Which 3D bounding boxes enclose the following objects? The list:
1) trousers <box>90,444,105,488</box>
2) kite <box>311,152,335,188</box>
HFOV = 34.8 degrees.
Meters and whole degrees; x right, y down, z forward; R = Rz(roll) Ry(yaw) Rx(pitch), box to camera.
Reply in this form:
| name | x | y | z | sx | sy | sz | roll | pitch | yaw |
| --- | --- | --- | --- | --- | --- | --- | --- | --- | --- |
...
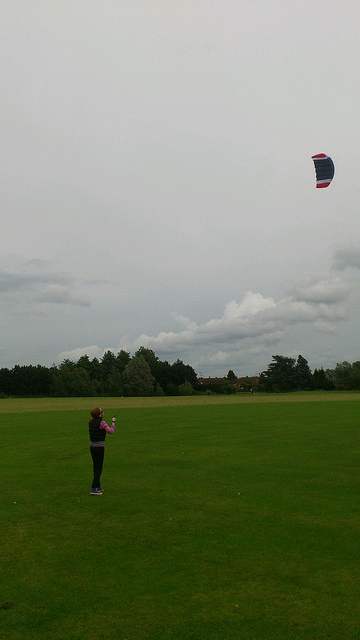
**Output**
| name | x | y | z | sx | sy | sz | roll | pitch | yaw |
| --- | --- | --- | --- | --- | --- | --- | --- | --- | --- |
| trousers | -1.977 | 3.451 | 13.634 | 0.267 | 1.013 | 0.353 | -1 | -4 | -10 |
| kite | 7.547 | -7.924 | 30.210 | 0.955 | 1.938 | 1.235 | -3 | -4 | 12 |
